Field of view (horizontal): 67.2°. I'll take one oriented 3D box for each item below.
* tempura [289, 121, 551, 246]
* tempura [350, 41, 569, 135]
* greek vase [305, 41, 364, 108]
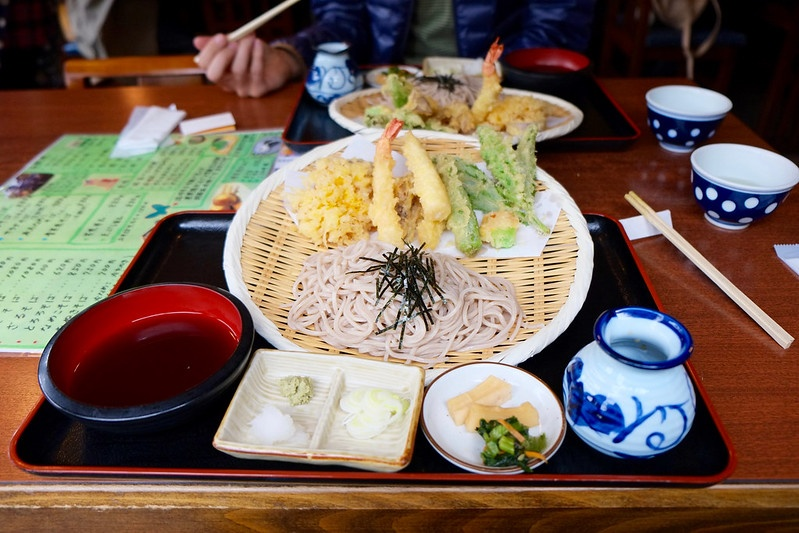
[{"bbox_3d":[0.089,-0.342,2.847,1.066,0.268,0.621,-3,52,-5],"label":"tempura"},{"bbox_3d":[0.396,-0.992,3.628,1.090,0.429,0.726,8,36,14],"label":"tempura"},{"bbox_3d":[-0.466,-1.240,3.862,0.249,0.371,0.367,-13,22,-30],"label":"greek vase"}]
